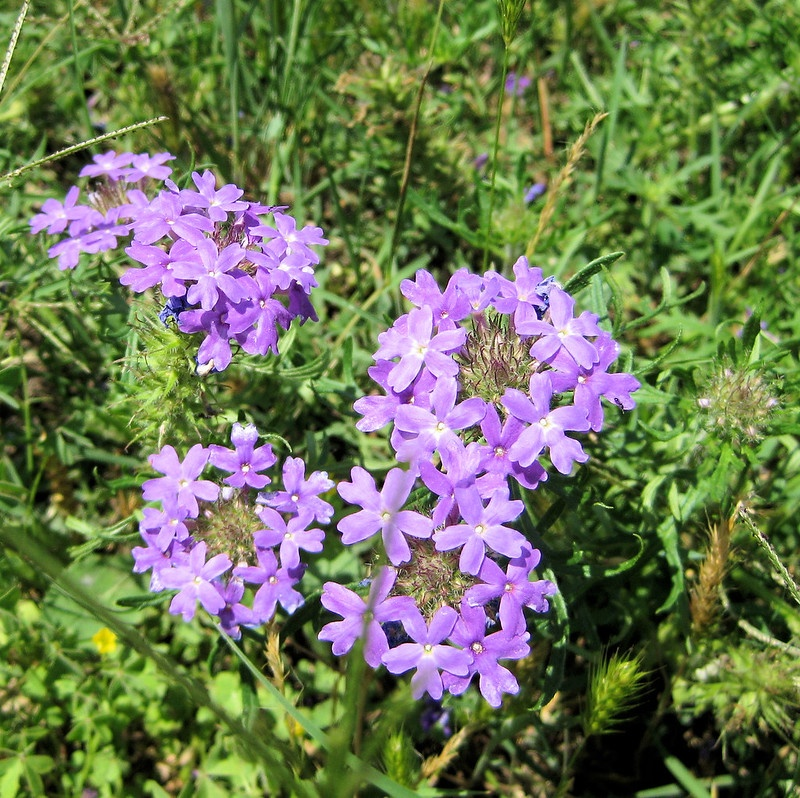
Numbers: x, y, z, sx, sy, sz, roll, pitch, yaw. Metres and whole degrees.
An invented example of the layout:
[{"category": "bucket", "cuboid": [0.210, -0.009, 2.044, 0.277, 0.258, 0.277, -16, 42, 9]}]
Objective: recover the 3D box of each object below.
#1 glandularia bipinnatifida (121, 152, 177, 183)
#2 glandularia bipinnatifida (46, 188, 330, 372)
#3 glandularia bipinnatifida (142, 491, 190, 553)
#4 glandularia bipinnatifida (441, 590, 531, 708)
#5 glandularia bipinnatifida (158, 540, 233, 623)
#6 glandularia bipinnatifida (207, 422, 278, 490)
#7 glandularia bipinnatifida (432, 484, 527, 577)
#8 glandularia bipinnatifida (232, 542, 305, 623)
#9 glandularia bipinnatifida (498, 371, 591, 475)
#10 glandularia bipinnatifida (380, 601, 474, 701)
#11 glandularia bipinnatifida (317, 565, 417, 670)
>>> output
[{"category": "glandularia bipinnatifida", "cuboid": [-1.203, -1.086, 4.642, 0.182, 0.029, 0.180, -39, 57, -20]}, {"category": "glandularia bipinnatifida", "cuboid": [-0.874, -0.627, 4.206, 0.882, 0.370, 1.024, 14, 66, -10]}, {"category": "glandularia bipinnatifida", "cuboid": [-1.000, 0.537, 4.146, 0.211, 0.160, 0.172, 10, 51, -5]}, {"category": "glandularia bipinnatifida", "cuboid": [0.342, 0.924, 3.899, 0.266, 0.085, 0.322, -7, 13, 30]}, {"category": "glandularia bipinnatifida", "cuboid": [-0.848, 0.759, 4.066, 0.300, 0.198, 0.299, -5, 55, -15]}, {"category": "glandularia bipinnatifida", "cuboid": [-0.662, 0.280, 4.165, 0.296, 0.116, 0.360, -11, 43, -24]}, {"category": "glandularia bipinnatifida", "cuboid": [0.316, 0.557, 3.910, 0.372, 0.345, 0.265, -6, 52, -16]}, {"category": "glandularia bipinnatifida", "cuboid": [-0.539, 0.761, 4.076, 0.312, 0.146, 0.372, 20, 30, 7]}, {"category": "glandularia bipinnatifida", "cuboid": [0.565, 0.063, 3.935, 0.329, 0.091, 0.453, -11, 42, -22]}, {"category": "glandularia bipinnatifida", "cuboid": [0.095, 0.949, 3.847, 0.445, 0.498, 0.123, -26, 82, -11]}, {"category": "glandularia bipinnatifida", "cuboid": [-0.130, 0.825, 3.870, 0.397, 0.137, 0.497, -6, 9, 18]}]
